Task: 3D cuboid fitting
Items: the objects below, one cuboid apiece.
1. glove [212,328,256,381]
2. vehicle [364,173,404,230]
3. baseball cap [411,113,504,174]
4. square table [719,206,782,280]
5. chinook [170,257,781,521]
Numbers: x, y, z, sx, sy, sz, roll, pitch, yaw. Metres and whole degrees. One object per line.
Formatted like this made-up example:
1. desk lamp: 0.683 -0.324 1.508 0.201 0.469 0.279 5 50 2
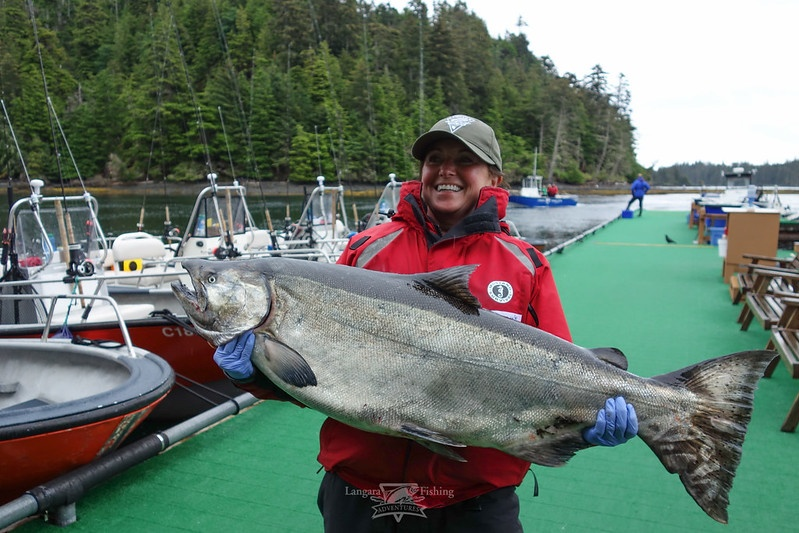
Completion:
1. glove: -0.858 0.473 3.424 0.270 0.246 0.202 -17 1 -18
2. vehicle: -0.187 -1.177 12.228 0.726 0.754 0.430 -18 2 33
3. baseball cap: 0.363 -0.738 3.574 0.322 0.220 0.439 7 -13 32
4. square table: 6.112 -0.261 10.343 0.954 1.188 1.029 11 -2 -44
5. chinook: 0.298 0.543 3.451 3.340 1.005 0.610 13 -2 1
